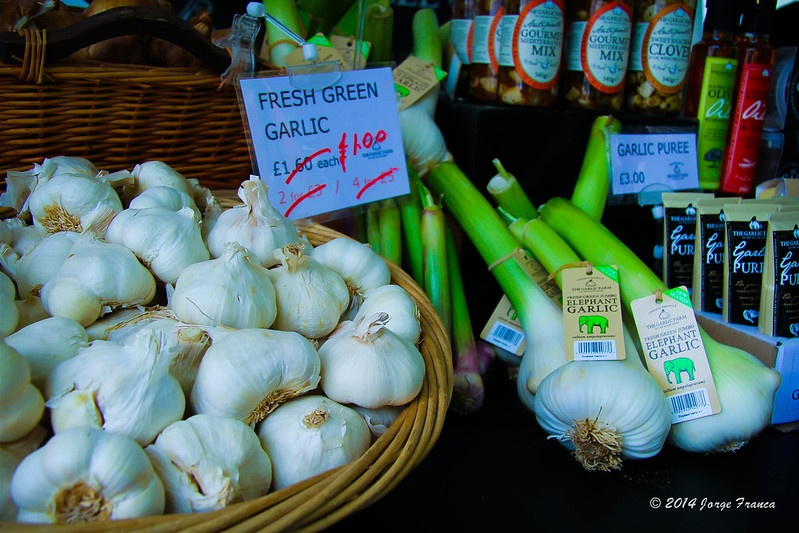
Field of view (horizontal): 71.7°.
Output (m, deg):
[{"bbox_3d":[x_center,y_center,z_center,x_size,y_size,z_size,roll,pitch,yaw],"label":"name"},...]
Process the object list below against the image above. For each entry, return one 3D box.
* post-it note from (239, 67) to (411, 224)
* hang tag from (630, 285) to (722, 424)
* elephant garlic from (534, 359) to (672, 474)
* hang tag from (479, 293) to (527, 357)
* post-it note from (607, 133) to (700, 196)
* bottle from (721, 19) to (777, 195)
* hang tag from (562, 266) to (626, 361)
[{"bbox_3d":[-0.182,-0.291,1.312,0.333,0.309,0.039,-17,21,-19],"label":"post-it note"},{"bbox_3d":[0.624,0.191,1.267,0.138,0.024,0.336,-23,41,30],"label":"hang tag"},{"bbox_3d":[0.458,0.320,1.258,0.235,0.228,0.242,30,-1,23],"label":"elephant garlic"},{"bbox_3d":[0.295,0.162,1.479,0.113,0.034,0.154,16,54,17],"label":"hang tag"},{"bbox_3d":[0.719,-0.290,1.563,0.335,0.219,0.003,-7,4,-22],"label":"post-it note"},{"bbox_3d":[0.994,-0.441,1.593,0.098,0.478,0.096,2,16,0],"label":"bottle"},{"bbox_3d":[0.447,0.099,1.288,0.129,0.015,0.251,-5,59,22],"label":"hang tag"}]
